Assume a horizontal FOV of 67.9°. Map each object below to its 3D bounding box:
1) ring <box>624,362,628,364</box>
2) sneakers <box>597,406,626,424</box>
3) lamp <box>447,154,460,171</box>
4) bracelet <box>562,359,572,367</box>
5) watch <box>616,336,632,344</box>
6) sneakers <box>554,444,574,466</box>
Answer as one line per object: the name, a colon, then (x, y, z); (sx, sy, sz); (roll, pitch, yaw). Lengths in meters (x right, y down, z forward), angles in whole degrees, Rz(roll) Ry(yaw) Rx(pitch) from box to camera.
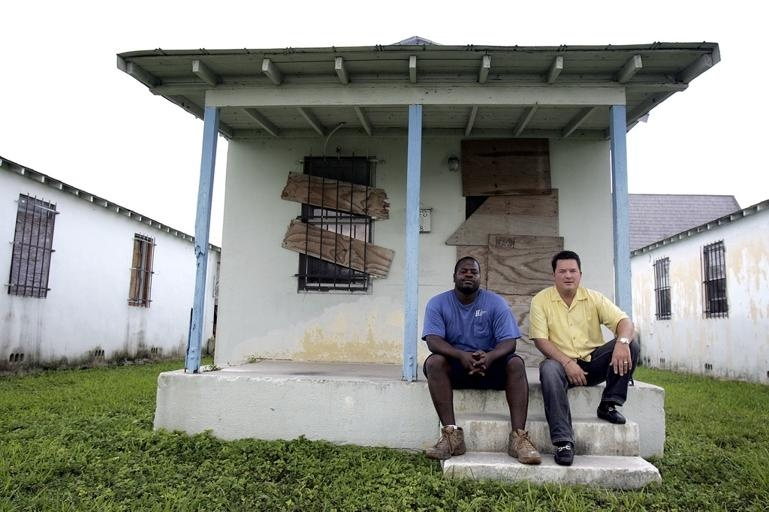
ring: (2.690, 1.186, 6.374); (0.080, 0.017, 0.014); (2, -9, -16)
sneakers: (2.599, 1.811, 6.552); (0.127, 0.150, 0.353); (2, -7, -19)
lamp: (1.087, -1.488, 9.060); (0.203, 0.290, 0.214); (-1, -1, 21)
bracelet: (2.046, 1.199, 6.424); (0.092, 0.074, 0.061); (-2, -9, 8)
watch: (2.689, 0.947, 6.448); (0.105, 0.104, 0.075); (19, 21, 22)
sneakers: (1.920, 2.129, 6.137); (0.189, 0.229, 0.122); (-2, -9, 9)
